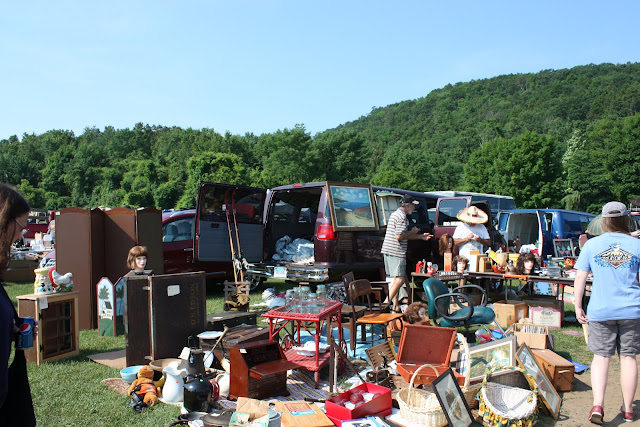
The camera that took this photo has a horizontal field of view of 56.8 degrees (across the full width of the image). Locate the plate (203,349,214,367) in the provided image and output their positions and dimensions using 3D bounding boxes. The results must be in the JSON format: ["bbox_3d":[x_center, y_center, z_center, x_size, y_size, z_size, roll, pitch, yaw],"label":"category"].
[{"bbox_3d":[-1.533,1.981,8.099,0.181,0.189,0.039,8,-1,6],"label":"plate"}]

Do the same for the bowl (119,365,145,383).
[{"bbox_3d":[-2.503,2.093,7.769,0.228,0.132,0.231,-1,-12,0],"label":"bowl"}]

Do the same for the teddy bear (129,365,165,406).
[{"bbox_3d":[-2.233,2.225,7.619,0.403,0.311,0.696,11,19,-13],"label":"teddy bear"}]

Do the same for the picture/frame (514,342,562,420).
[{"bbox_3d":[2.723,2.134,7.434,0.072,0.999,0.875,-45,-37,21],"label":"picture/frame"}]

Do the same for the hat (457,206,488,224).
[{"bbox_3d":[2.795,0.012,11.053,0.425,0.118,0.382,-13,39,-21],"label":"hat"}]

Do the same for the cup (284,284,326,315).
[{"bbox_3d":[-0.225,1.172,8.171,0.384,0.362,0.377,2,-2,0],"label":"cup"}]

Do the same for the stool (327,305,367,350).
[{"bbox_3d":[0.467,1.620,9.065,0.781,0.751,0.643,0,-4,-12],"label":"stool"}]

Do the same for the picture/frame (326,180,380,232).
[{"bbox_3d":[0.557,-0.104,10.790,0.971,0.801,0.091,0,-14,-44],"label":"picture/frame"}]

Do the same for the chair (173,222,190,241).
[{"bbox_3d":[-2.800,0.357,12.112,0.260,0.354,0.351,2,-1,7],"label":"chair"}]

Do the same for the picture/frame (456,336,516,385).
[{"bbox_3d":[2.114,1.888,7.528,0.588,0.362,0.027,-9,-27,14],"label":"picture/frame"}]

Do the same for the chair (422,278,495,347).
[{"bbox_3d":[2.019,1.409,8.958,0.985,1.095,0.959,-6,1,23],"label":"chair"}]

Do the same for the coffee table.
[{"bbox_3d":[-0.179,1.695,8.425,0.889,1.389,1.384,-3,-6,26],"label":"coffee table"}]

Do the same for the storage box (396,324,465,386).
[{"bbox_3d":[1.397,1.764,7.661,0.803,0.780,0.741,2,-5,2],"label":"storage box"}]

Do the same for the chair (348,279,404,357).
[{"bbox_3d":[0.783,1.549,9.310,0.936,1.440,0.971,-1,-1,25],"label":"chair"}]

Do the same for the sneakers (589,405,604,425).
[{"bbox_3d":[3.323,2.413,7.110,0.118,0.113,0.266,4,-37,21],"label":"sneakers"}]

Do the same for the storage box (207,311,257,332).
[{"bbox_3d":[-1.349,1.621,8.981,0.896,0.197,0.503,-1,-3,-28],"label":"storage box"}]

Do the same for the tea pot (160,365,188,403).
[{"bbox_3d":[-1.861,2.165,7.522,0.426,0.456,0.195,-4,-2,25],"label":"tea pot"}]

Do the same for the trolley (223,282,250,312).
[{"bbox_3d":[-1.410,1.362,9.800,0.454,0.479,0.366,-3,-2,8],"label":"trolley"}]

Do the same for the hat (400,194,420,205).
[{"bbox_3d":[1.599,-0.237,10.466,0.348,0.192,0.224,1,5,-19],"label":"hat"}]

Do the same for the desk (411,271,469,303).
[{"bbox_3d":[2.114,1.445,10.846,0.861,0.641,0.857,0,3,36],"label":"desk"}]

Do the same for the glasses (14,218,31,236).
[{"bbox_3d":[-2.973,0.124,5.885,0.042,0.144,0.135,25,-8,-27],"label":"glasses"}]

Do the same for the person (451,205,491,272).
[{"bbox_3d":[2.834,0.435,11.165,0.629,0.840,1.582,-4,-3,29],"label":"person"}]

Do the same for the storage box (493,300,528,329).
[{"bbox_3d":[3.288,1.679,10.226,0.414,0.469,0.726,-2,-2,42],"label":"storage box"}]

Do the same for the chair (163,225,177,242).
[{"bbox_3d":[-3.063,0.402,11.928,0.267,0.497,0.268,4,-11,-23],"label":"chair"}]
